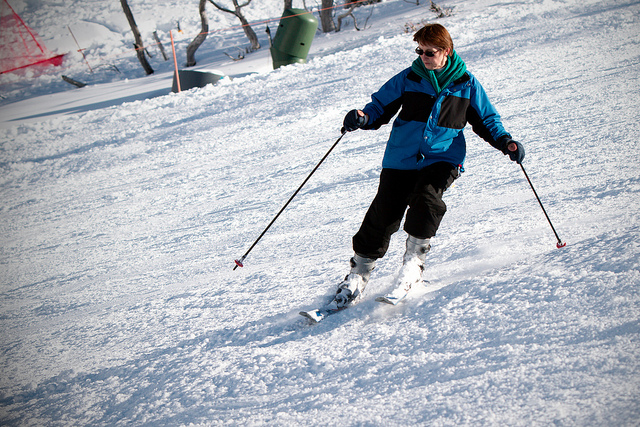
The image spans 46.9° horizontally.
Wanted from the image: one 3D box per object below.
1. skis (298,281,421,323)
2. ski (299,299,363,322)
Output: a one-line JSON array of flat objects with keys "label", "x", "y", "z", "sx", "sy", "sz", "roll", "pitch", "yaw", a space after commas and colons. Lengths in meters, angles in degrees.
[{"label": "skis", "x": 0.514, "y": 1.066, "z": 8.721, "sx": 1.192, "sy": 0.104, "sz": 0.159, "roll": -17, "pitch": 28, "yaw": 0}, {"label": "ski", "x": 0.104, "y": 1.146, "z": 8.714, "sx": 0.677, "sy": 0.180, "sz": 0.122, "roll": -18, "pitch": -10, "yaw": -16}]
